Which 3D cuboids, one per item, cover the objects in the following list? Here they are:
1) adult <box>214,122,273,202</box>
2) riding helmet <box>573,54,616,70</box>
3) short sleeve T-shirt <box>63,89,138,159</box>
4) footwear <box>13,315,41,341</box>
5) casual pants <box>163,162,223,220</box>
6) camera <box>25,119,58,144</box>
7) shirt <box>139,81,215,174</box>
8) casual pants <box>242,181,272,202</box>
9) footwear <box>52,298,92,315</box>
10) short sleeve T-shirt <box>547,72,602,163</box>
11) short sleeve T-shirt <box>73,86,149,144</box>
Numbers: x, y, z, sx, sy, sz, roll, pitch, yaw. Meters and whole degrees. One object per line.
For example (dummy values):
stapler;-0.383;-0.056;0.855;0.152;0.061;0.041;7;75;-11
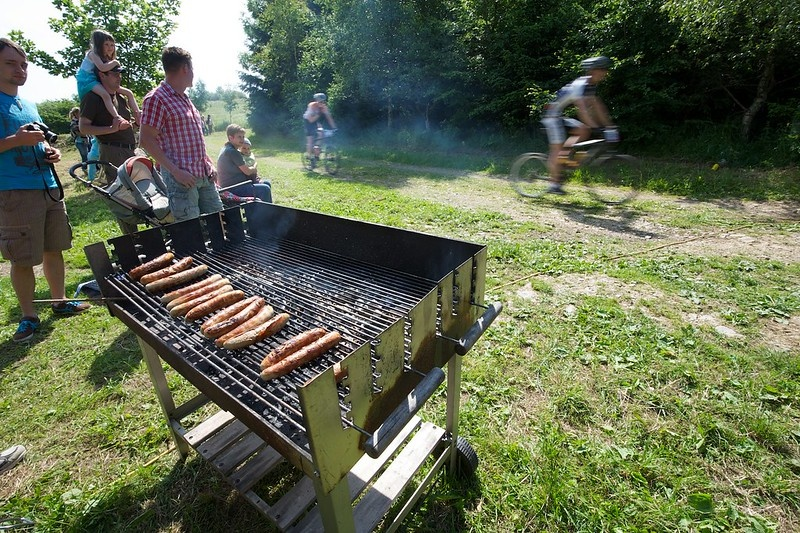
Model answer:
adult;-2.812;-1.612;9.461;0.927;1.909;0.733;-4;7;-13
riding helmet;3.798;-3.939;9.992;0.496;0.225;0.353;3;22;8
short sleeve T-shirt;-4.462;-2.267;7.813;0.407;0.783;0.777;7;26;-9
footwear;-5.122;0.848;7.097;0.163;0.214;0.440;-2;13;-23
casual pants;-2.831;-1.024;6.996;0.268;0.732;0.565;-8;24;30
camera;-4.460;-1.699;6.488;0.301;0.144;0.289;38;-16;-28
shirt;-2.972;-1.796;6.897;0.810;1.271;0.484;-12;24;-28
casual pants;-2.527;-1.387;9.206;0.475;0.185;0.496;-2;-26;25
footwear;-4.545;0.551;7.141;0.480;0.223;0.210;-5;39;-21
short sleeve T-shirt;3.494;-3.004;10.603;1.049;1.721;0.585;6;22;16
short sleeve T-shirt;-4.351;-2.300;7.968;0.472;0.901;0.867;13;28;21
